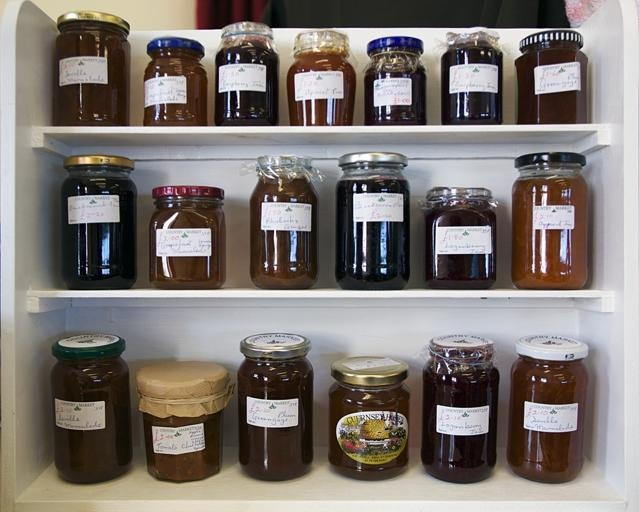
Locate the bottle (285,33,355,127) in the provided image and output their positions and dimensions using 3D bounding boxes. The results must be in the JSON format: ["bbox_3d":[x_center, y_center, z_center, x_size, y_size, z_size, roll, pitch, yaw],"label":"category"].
[{"bbox_3d":[0.012,-0.432,1.653,0.174,0.243,0.178,1,6,0],"label":"bottle"}]

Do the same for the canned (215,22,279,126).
[{"bbox_3d":[-0.177,-0.428,1.640,0.171,0.253,0.165,-1,-6,17],"label":"canned"}]

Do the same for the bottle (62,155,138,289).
[{"bbox_3d":[-0.553,-0.063,1.669,0.195,0.340,0.192,-5,-11,-1],"label":"bottle"}]

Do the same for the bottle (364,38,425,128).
[{"bbox_3d":[0.183,-0.433,1.650,0.170,0.202,0.181,-6,15,-25],"label":"bottle"}]

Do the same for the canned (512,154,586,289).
[{"bbox_3d":[0.552,-0.072,1.593,0.172,0.297,0.093,-1,7,18],"label":"canned"}]

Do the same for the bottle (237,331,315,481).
[{"bbox_3d":[-0.111,0.371,1.636,0.235,0.313,0.234,1,4,0],"label":"bottle"}]

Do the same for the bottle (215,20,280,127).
[{"bbox_3d":[-0.175,-0.429,1.642,0.160,0.256,0.147,0,-5,0],"label":"bottle"}]

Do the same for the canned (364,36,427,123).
[{"bbox_3d":[0.146,-0.433,1.648,0.170,0.199,0.171,-3,14,-9],"label":"canned"}]

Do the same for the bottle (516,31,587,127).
[{"bbox_3d":[0.575,-0.440,1.655,0.182,0.241,0.179,-2,11,0],"label":"bottle"}]

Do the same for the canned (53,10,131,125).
[{"bbox_3d":[-0.561,-0.447,1.659,0.180,0.275,0.178,2,3,13],"label":"canned"}]

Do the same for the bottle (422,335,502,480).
[{"bbox_3d":[0.334,0.369,1.580,0.178,0.325,0.104,-1,7,15],"label":"bottle"}]

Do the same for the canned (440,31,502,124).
[{"bbox_3d":[0.375,-0.437,1.637,0.155,0.225,0.152,0,3,6],"label":"canned"}]

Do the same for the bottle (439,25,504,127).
[{"bbox_3d":[0.372,-0.439,1.633,0.150,0.218,0.146,0,5,0],"label":"bottle"}]

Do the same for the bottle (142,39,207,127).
[{"bbox_3d":[-0.357,-0.431,1.660,0.162,0.224,0.161,1,1,0],"label":"bottle"}]

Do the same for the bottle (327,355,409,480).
[{"bbox_3d":[0.135,0.407,1.634,0.193,0.271,0.190,0,1,0],"label":"bottle"}]

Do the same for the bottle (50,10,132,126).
[{"bbox_3d":[-0.563,-0.446,1.662,0.182,0.280,0.180,1,3,0],"label":"bottle"}]

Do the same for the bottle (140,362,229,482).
[{"bbox_3d":[-0.324,0.412,1.627,0.205,0.237,0.217,-4,-3,34],"label":"bottle"}]

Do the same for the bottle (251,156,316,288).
[{"bbox_3d":[-0.089,-0.082,1.664,0.238,0.324,0.239,-1,3,0],"label":"bottle"}]

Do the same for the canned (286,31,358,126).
[{"bbox_3d":[0.010,-0.431,1.661,0.187,0.255,0.187,3,8,41],"label":"canned"}]

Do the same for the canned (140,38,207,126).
[{"bbox_3d":[-0.341,-0.440,1.657,0.150,0.209,0.153,2,9,13],"label":"canned"}]
